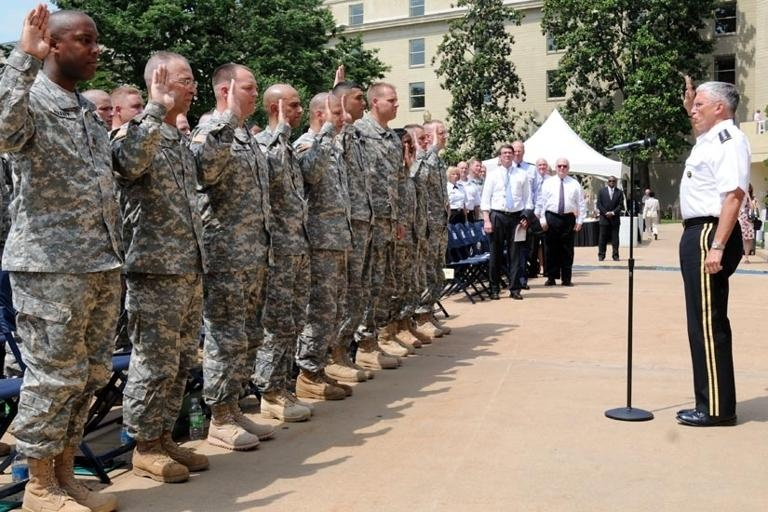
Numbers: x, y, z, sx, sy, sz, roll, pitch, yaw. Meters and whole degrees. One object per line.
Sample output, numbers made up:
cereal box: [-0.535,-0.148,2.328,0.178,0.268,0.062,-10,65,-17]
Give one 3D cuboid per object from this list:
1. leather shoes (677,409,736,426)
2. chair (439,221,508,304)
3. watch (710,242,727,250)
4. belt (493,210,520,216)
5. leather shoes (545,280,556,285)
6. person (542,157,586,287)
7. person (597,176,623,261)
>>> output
leather shoes: [2.748,1.407,8.559,0.341,0.077,0.197,3,-4,15]
chair: [1.284,0.112,14.469,0.614,0.781,1.478,2,2,32]
watch: [2.850,-0.085,8.485,0.118,0.074,0.083,2,13,11]
belt: [1.770,-0.640,14.456,0.379,0.067,0.135,2,12,9]
leather shoes: [2.669,0.416,15.975,0.187,0.097,0.224,1,12,4]
person: [2.833,-0.519,16.027,0.665,2.059,1.374,2,14,11]
person: [4.712,-0.744,20.863,0.560,1.755,1.573,3,13,12]
